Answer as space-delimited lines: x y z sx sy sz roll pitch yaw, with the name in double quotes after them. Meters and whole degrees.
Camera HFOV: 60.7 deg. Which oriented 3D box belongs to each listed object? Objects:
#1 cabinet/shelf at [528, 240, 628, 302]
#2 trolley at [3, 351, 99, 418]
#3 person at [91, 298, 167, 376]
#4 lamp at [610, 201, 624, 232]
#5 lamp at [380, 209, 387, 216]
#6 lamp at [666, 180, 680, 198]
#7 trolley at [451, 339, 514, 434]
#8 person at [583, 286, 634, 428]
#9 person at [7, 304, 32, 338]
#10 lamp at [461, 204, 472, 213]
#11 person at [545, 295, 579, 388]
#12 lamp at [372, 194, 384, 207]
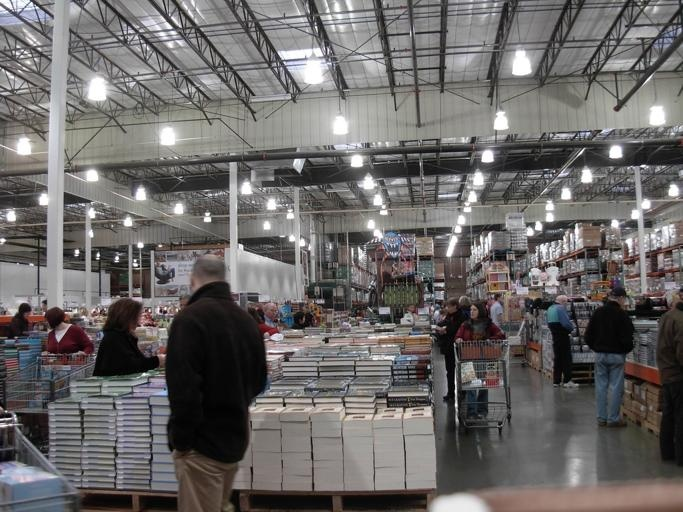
7.183 0.276 17.449 1.709 2.050 6.948 -2 -6 14 "cabinet/shelf"
-3.417 1.462 6.745 0.641 0.399 1.009 -1 -4 1 "trolley"
-2.180 0.818 5.840 0.664 0.789 0.438 0 -6 1 "person"
12.524 -1.859 26.601 0.732 1.335 2.911 -3 -6 26 "lamp"
1.716 -1.770 24.412 0.370 0.275 0.376 -1 10 17 "lamp"
13.742 -2.773 24.151 0.744 0.730 0.755 2 4 25 "lamp"
2.158 1.869 8.951 0.972 1.575 1.644 0 -2 14 "trolley"
3.712 1.392 8.063 0.600 1.903 0.446 -5 -8 42 "person"
-6.059 1.196 10.986 0.333 0.638 1.651 3 -6 -29 "person"
5.764 -2.193 26.915 0.485 0.370 0.502 -3 0 -6 "lamp"
4.146 1.608 11.009 0.444 1.718 0.690 -2 -6 23 "person"
1.721 -2.691 28.006 0.436 0.471 0.441 -3 0 3 "lamp"
